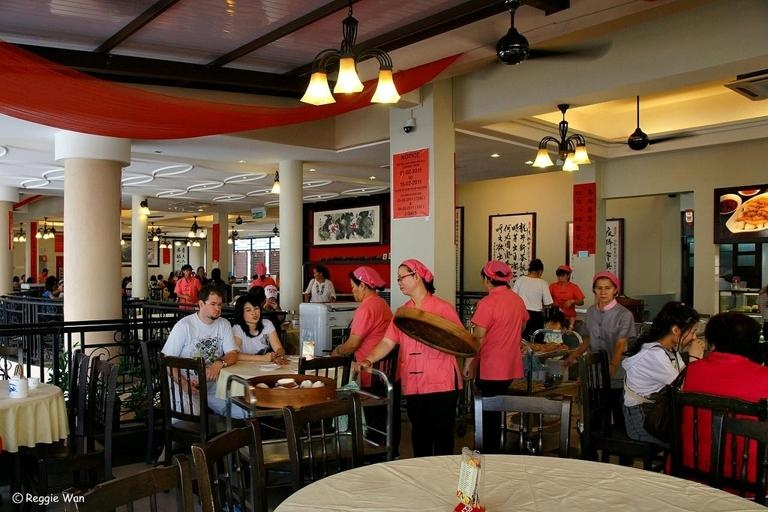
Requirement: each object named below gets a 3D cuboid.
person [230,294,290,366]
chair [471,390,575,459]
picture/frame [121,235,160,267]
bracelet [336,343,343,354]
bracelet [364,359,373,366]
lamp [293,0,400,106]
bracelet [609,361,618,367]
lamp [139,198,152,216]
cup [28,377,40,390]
[{"bbox_3d":[-1.258,0.699,5.474,0.508,0.671,0.709,-14,10,-41],"label":"person"},{"bbox_3d":[0.900,1.083,3.644,0.589,0.378,0.409,-1,0,12],"label":"chair"},{"bbox_3d":[-8.461,-0.170,19.455,1.747,1.051,0.072,1,1,-28],"label":"picture/frame"},{"bbox_3d":[-0.397,0.821,4.913,0.080,0.064,0.073,2,-5,-10],"label":"bracelet"},{"bbox_3d":[-0.122,0.827,4.353,0.052,0.042,0.048,3,-8,1],"label":"bracelet"},{"bbox_3d":[-0.326,-1.686,4.803,0.708,0.873,1.330,-1,0,-7],"label":"lamp"},{"bbox_3d":[2.086,0.983,5.119,0.064,0.041,0.059,9,0,-2],"label":"bracelet"},{"bbox_3d":[-5.922,-1.198,13.933,0.159,0.471,0.916,-1,0,-20],"label":"lamp"},{"bbox_3d":[-2.735,0.998,4.403,0.089,0.070,0.096,-1,-9,0],"label":"cup"}]
